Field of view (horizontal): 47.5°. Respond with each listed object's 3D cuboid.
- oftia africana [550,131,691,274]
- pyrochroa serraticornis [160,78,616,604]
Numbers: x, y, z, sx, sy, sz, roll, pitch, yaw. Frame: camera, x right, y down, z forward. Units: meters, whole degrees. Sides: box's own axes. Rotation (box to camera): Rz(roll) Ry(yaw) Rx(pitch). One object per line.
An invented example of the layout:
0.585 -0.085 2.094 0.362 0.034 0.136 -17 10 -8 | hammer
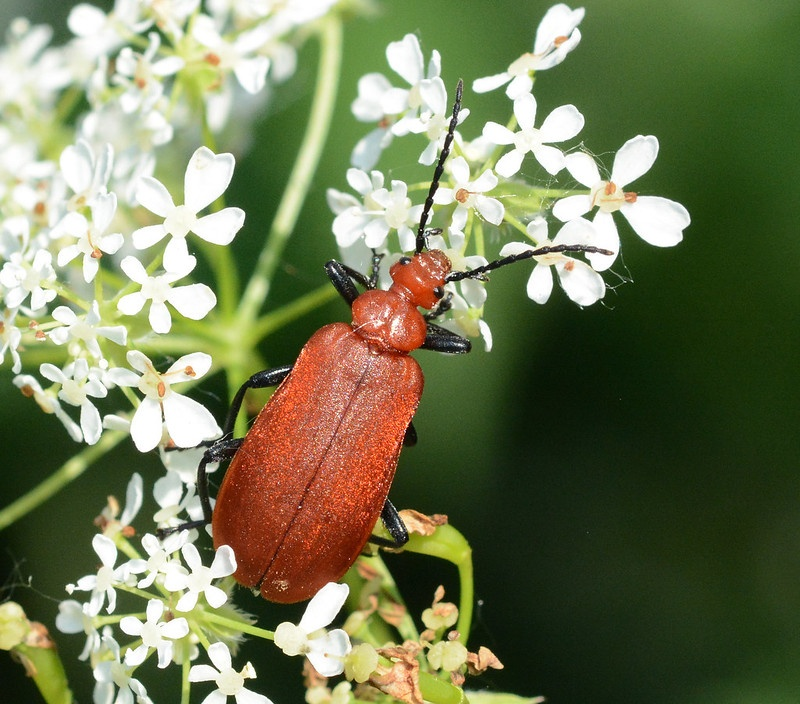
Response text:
0.768 -0.537 3.194 0.463 0.380 0.307 38 -35 -29 | oftia africana
-0.384 0.230 4.270 1.740 1.680 1.992 5 -44 -17 | pyrochroa serraticornis
